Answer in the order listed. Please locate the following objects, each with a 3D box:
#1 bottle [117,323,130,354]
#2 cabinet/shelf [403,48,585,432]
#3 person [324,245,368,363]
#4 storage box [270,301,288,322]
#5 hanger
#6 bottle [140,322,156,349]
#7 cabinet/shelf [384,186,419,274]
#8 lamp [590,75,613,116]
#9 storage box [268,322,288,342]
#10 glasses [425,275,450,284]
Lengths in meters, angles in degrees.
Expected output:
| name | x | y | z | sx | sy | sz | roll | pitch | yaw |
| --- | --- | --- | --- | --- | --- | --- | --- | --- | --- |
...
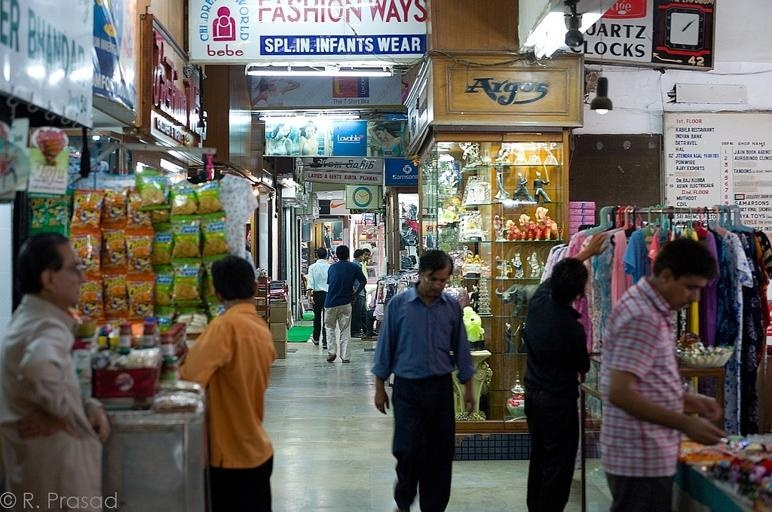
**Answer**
| name | x | y | z | sx | sy | sz | roll | pitch | yaw |
| --- | --- | --- | --- | --- | --- | --- | --- | --- | --- |
| bottle | -1.560 | 0.496 | 4.616 | 0.142 | 0.158 | 0.141 | -1 | 5 | -19 |
| cabinet/shelf | 1.036 | -0.327 | 7.780 | 1.483 | 2.779 | 1.102 | 1 | 1 | -8 |
| person | -0.627 | 0.715 | 11.653 | 0.608 | 1.732 | 0.742 | 1 | 3 | -4 |
| storage box | -1.617 | 0.847 | 11.731 | 0.268 | 0.270 | 0.279 | -1 | 0 | 0 |
| hanger | 2.483 | -0.315 | 6.494 | 1.126 | 0.213 | 1.320 | 3 | 5 | 30 |
| bottle | -1.436 | 0.474 | 4.678 | 0.085 | 0.158 | 0.050 | -1 | 3 | -29 |
| cabinet/shelf | 0.313 | -0.503 | 14.930 | 0.622 | 1.519 | 1.622 | 0 | -5 | -2 |
| lamp | 2.009 | -1.479 | 7.189 | 0.212 | 0.316 | 0.184 | 9 | -10 | -35 |
| storage box | -1.624 | 1.145 | 11.616 | 0.250 | 0.360 | 0.364 | 0 | -1 | -2 |
| glasses | 0.400 | 0.165 | 5.507 | 0.107 | 0.048 | 0.243 | 4 | 5 | 33 |
